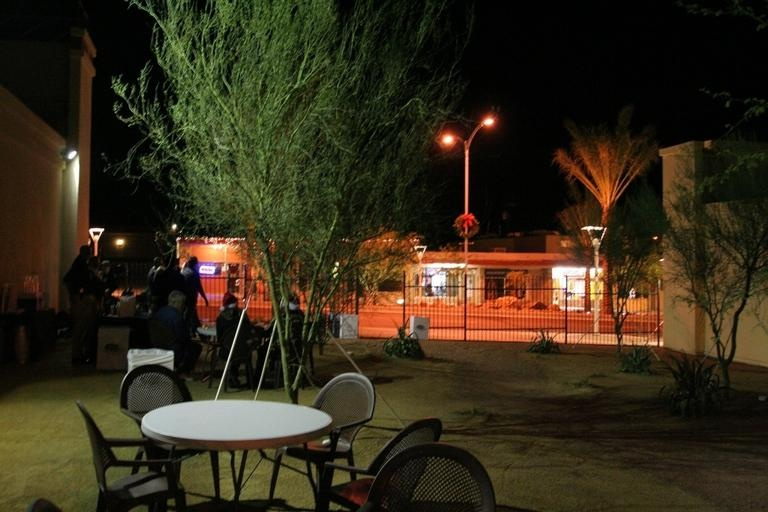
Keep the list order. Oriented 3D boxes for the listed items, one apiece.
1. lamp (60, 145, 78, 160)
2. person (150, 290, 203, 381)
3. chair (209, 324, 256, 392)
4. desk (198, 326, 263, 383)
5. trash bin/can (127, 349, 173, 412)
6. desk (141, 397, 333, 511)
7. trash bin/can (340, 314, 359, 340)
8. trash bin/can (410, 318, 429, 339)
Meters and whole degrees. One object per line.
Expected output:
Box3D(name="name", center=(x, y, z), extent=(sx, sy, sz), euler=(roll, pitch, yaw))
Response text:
Box3D(name="lamp", center=(-10.377, -3.441, 20.111), extent=(0.349, 0.491, 0.541), euler=(1, -9, -8))
Box3D(name="person", center=(-3.983, 1.560, 11.796), extent=(0.836, 1.743, 0.950), euler=(10, 10, 42))
Box3D(name="chair", center=(-2.932, 1.911, 11.966), extent=(0.927, 1.316, 0.797), euler=(11, 5, 41))
Box3D(name="desk", center=(-3.393, 2.227, 12.723), extent=(1.728, 1.367, 1.485), euler=(0, 0, -10))
Box3D(name="trash bin/can", center=(-4.004, 2.088, 10.438), extent=(0.950, 0.637, 0.962), euler=(4, -7, -19))
Box3D(name="desk", center=(-1.619, 1.779, 6.456), extent=(1.353, 0.826, 1.393), euler=(6, 2, 31))
Box3D(name="trash bin/can", center=(-1.173, 2.322, 19.948), extent=(0.798, 1.144, 0.595), euler=(1, 2, -3))
Box3D(name="trash bin/can", center=(1.170, 2.377, 20.139), extent=(0.678, 1.028, 0.511), euler=(0, -2, -9))
